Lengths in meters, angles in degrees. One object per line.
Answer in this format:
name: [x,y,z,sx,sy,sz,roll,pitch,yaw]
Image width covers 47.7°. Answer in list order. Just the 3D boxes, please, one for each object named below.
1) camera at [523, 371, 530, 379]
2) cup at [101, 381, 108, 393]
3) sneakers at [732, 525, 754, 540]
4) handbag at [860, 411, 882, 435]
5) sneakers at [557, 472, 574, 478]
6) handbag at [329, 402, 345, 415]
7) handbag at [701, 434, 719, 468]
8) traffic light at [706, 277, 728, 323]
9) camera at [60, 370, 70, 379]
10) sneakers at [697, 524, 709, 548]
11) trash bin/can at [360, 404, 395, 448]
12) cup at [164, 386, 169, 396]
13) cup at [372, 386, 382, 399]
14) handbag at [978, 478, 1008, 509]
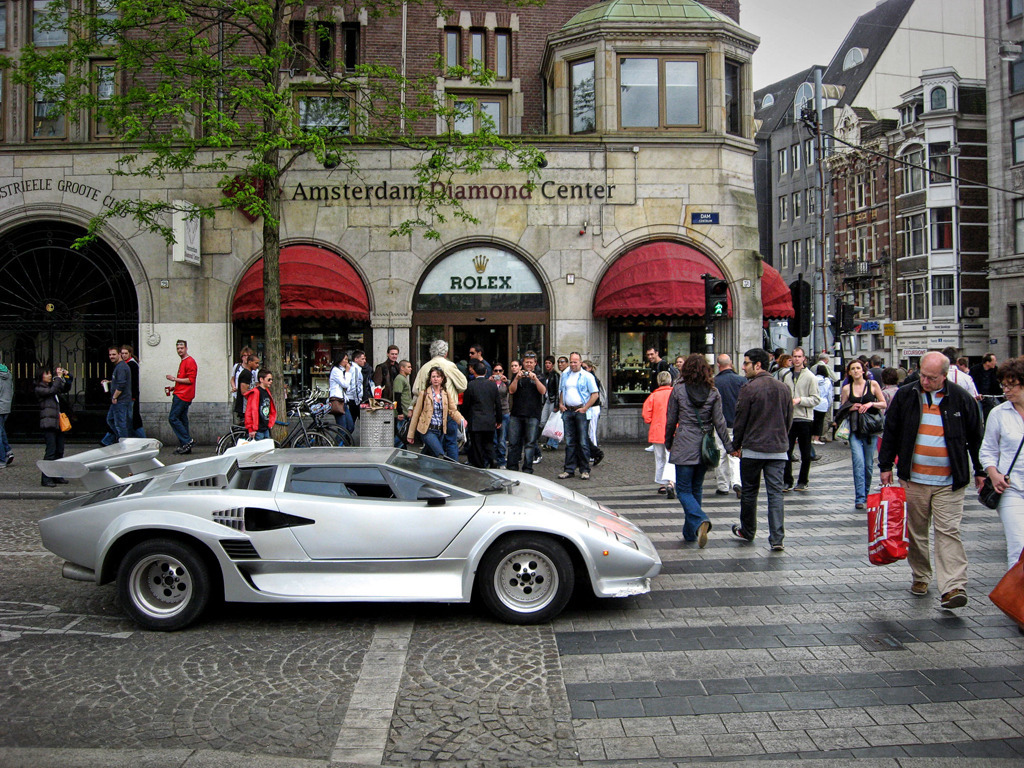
camera: [0.218,-0.153,20.131,0.092,0.096,0.024,8,10,1]
cup: [-8.921,0.066,25.075,0.186,0.146,0.348,16,-19,-5]
sneakers: [2.879,1.847,14.579,0.106,0.135,0.307,-12,20,-4]
handbag: [5.204,0.574,16.818,0.304,0.365,0.181,1,2,10]
sneakers: [0.900,1.575,20.043,0.273,0.116,0.100,5,-3,-35]
handbag: [-3.284,0.425,21.305,0.315,0.235,0.181,3,17,-2]
handbag: [2.450,0.835,14.441,0.178,0.468,0.459,-2,-2,10]
traffic light: [3.537,-1.472,20.107,0.387,0.745,0.505,1,10,7]
camera: [-8.497,-0.184,21.773,0.138,0.067,0.180,6,5,0]
sneakers: [2.352,1.819,14.100,0.107,0.359,0.147,4,8,-8]
trash bin/can: [-2.446,0.752,20.357,0.766,0.849,0.820,1,10,1]
cup: [-7.565,0.156,25.088,0.178,0.192,0.132,5,7,41]
cup: [-2.547,0.169,21.456,0.146,0.173,0.184,1,-18,-3]
handbag: [4.780,1.092,11.512,0.099,0.203,0.266,-4,-32,8]
